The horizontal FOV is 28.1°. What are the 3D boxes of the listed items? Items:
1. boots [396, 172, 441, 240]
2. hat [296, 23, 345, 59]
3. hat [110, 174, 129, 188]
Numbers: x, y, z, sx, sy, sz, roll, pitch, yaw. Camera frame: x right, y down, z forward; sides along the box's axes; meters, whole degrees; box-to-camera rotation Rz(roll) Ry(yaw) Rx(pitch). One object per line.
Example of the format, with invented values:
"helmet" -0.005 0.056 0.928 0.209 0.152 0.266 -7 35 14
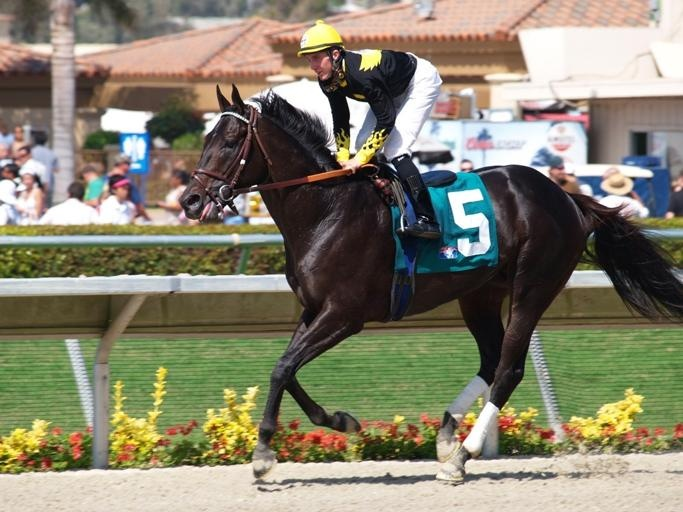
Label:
"boots" 0.477 -0.301 8.616 0.362 0.442 0.182 9 -44 -21
"hat" -0.133 -1.388 8.632 0.321 0.163 0.246 -23 25 -32
"hat" -1.970 -0.650 12.114 0.173 0.116 0.135 7 -10 -12
